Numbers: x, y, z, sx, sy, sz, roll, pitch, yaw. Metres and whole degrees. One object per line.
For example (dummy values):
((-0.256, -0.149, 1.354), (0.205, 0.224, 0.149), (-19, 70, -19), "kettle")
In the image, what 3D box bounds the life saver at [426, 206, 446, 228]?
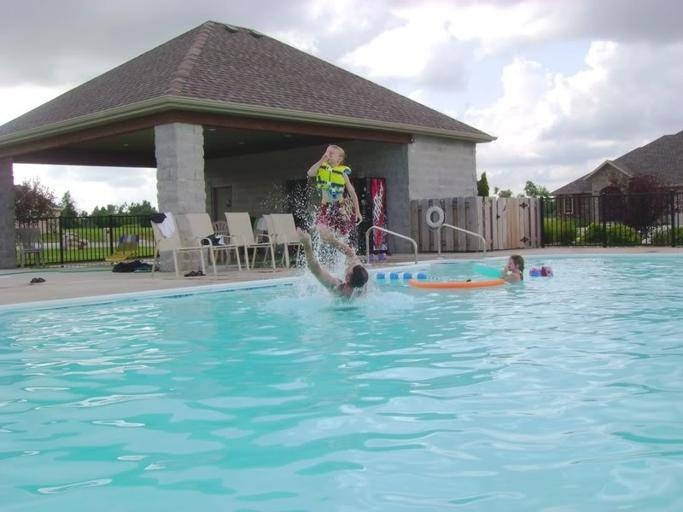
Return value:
((2.492, -0.964, 15.224), (0.601, 0.566, 0.144), (14, 9, 35), "life saver")

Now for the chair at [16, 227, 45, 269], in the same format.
((-8.989, -0.230, 16.543), (0.608, 0.983, 3.311), (-3, 2, -29), "chair")

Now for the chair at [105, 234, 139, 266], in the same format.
((-6.197, -0.175, 16.457), (0.804, 0.793, 1.583), (-1, -1, 3), "chair")

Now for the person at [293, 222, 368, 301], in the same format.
((-0.131, 0.068, 7.019), (0.304, 0.876, 0.674), (-44, -43, 21), "person")
